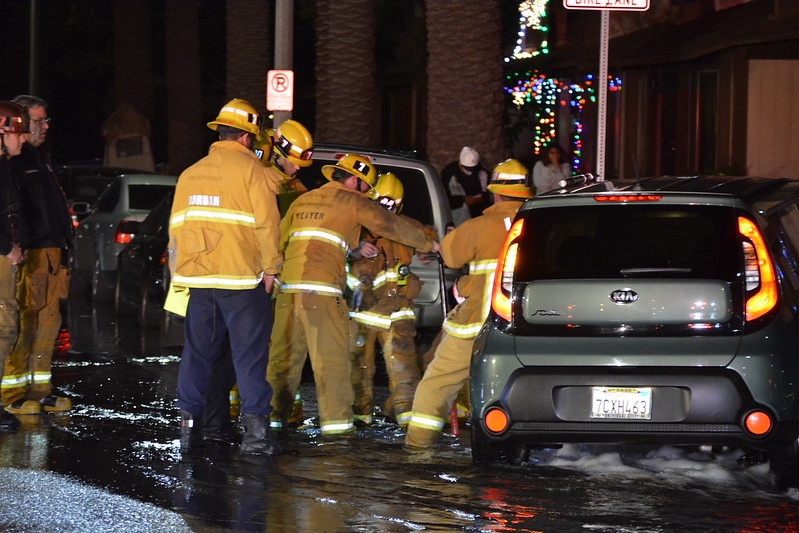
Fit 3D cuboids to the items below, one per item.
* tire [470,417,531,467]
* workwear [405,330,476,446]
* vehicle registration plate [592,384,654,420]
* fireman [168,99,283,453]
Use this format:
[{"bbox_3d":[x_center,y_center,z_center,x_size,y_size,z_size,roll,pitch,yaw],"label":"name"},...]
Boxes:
[{"bbox_3d":[0.678,1.202,7.021,0.229,0.438,0.520,-1,-2,18],"label":"tire"},{"bbox_3d":[0.299,0.914,8.003,0.295,0.268,1.092,-18,28,24],"label":"workwear"},{"bbox_3d":[1.446,0.872,6.573,0.309,0.138,0.019,1,3,11],"label":"vehicle registration plate"},{"bbox_3d":[-1.292,0.091,7.712,0.871,2.606,0.464,1,7,7],"label":"fireman"}]
